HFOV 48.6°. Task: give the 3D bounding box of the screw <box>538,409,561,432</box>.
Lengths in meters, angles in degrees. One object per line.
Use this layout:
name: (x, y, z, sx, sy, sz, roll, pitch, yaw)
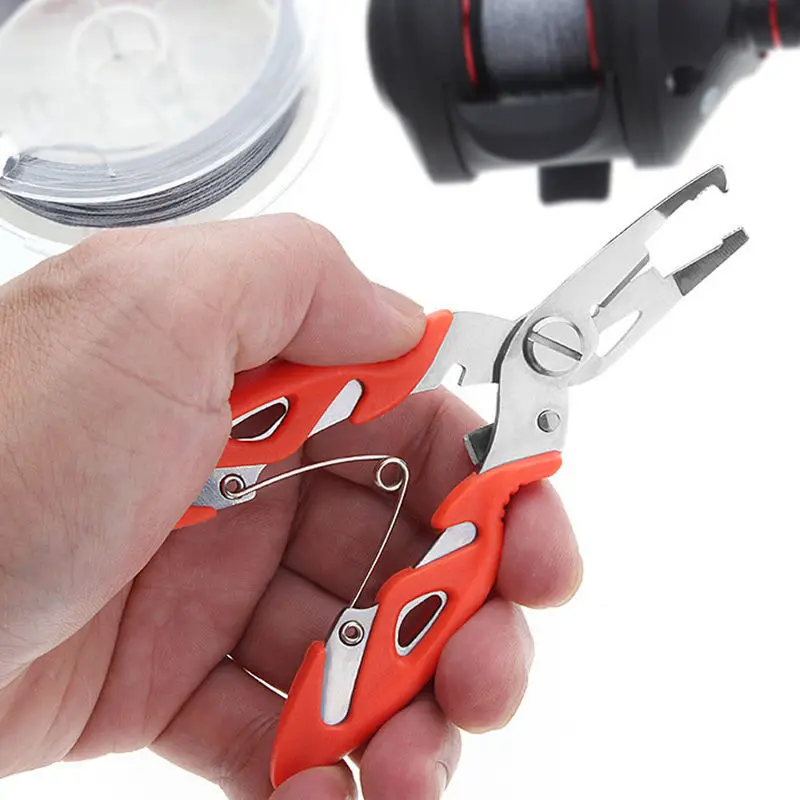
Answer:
screw: (0.240, 0.035, 1.434, 0.036, 0.008, 0.034, 2, 89, -17)
